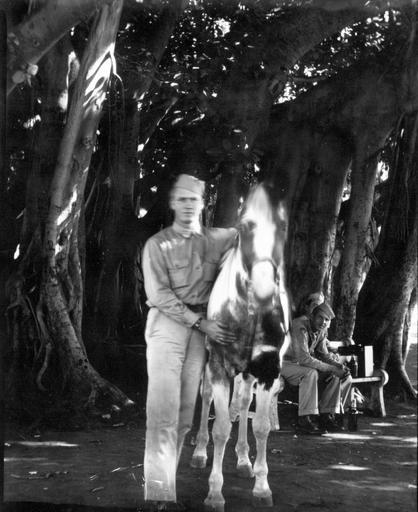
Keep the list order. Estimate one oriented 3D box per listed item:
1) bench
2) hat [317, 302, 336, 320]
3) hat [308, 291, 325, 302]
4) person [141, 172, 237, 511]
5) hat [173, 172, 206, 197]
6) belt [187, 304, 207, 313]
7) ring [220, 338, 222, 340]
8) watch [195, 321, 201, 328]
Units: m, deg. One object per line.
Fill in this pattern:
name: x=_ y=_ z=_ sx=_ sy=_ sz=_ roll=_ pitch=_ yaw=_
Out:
bench: x=1.612 y=1.434 z=6.559 sx=0.360 sy=0.547 sz=0.287 roll=-1 pitch=-2 yaw=-22
hat: x=1.144 y=0.480 z=6.180 sx=0.150 sy=0.072 sz=0.202 roll=45 pitch=16 yaw=-38
hat: x=1.069 y=0.416 z=6.276 sx=0.080 sy=0.109 sz=0.138 roll=4 pitch=-7 yaw=-2
person: x=-0.140 y=0.550 z=3.433 sx=0.521 sy=1.599 sz=0.322 roll=8 pitch=-7 yaw=-33
hat: x=-0.108 y=-0.392 z=3.517 sx=0.119 sy=0.080 sz=0.128 roll=31 pitch=2 yaw=-5
belt: x=-0.073 y=0.288 z=3.480 sx=0.055 sy=0.020 sz=0.039 roll=0 pitch=39 yaw=51
ring: x=0.065 y=0.449 z=3.403 sx=0.007 sy=0.018 sz=0.003 roll=-1 pitch=0 yaw=-21
watch: x=-0.061 y=0.363 z=3.361 sx=0.037 sy=0.045 sz=0.035 roll=7 pitch=-7 yaw=-12
